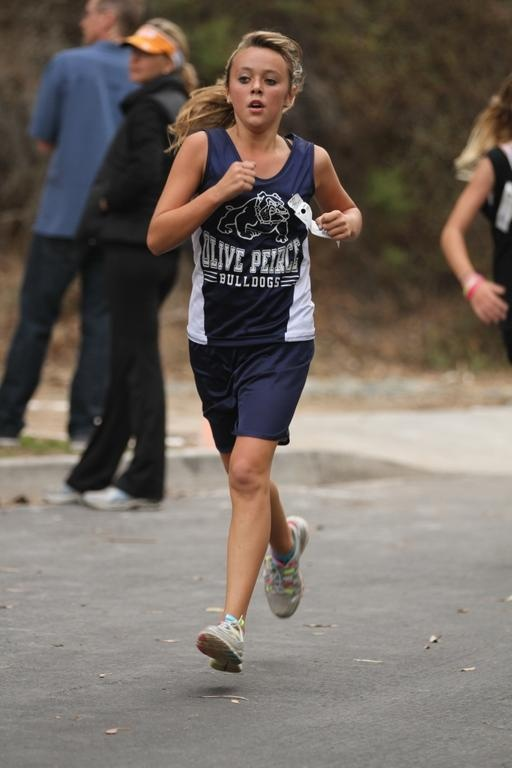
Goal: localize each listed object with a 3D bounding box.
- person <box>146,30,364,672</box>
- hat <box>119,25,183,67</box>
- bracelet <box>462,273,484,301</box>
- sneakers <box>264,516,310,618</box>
[{"bbox_3d":[-0.007,-0.112,2.390,0.573,1.781,0.927,-1,5,6],"label":"person"},{"bbox_3d":[-0.503,-1.692,4.585,0.265,0.099,0.177,22,7,-34],"label":"hat"},{"bbox_3d":[0.661,-0.302,2.810,0.023,0.072,0.079,25,-3,4],"label":"bracelet"},{"bbox_3d":[0.121,0.562,2.772,0.123,0.302,0.162,0,-1,31],"label":"sneakers"}]
